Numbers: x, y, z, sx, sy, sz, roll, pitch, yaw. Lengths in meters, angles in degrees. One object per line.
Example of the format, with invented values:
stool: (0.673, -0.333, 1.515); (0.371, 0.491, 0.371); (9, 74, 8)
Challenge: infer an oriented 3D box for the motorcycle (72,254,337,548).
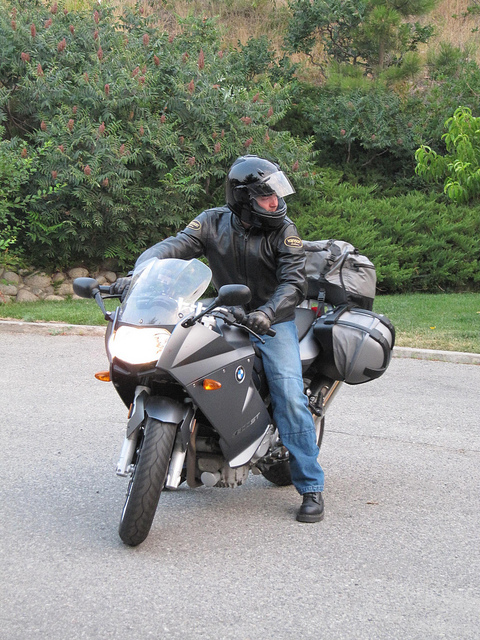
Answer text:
motorcycle: (-0.179, 0.401, 2.996); (0.945, 1.385, 0.663); (2, 3, -24)

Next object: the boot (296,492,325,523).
boot: (0.390, 1.043, 3.458); (0.093, 0.100, 0.235); (-1, -5, 13)

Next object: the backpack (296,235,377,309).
backpack: (0.676, -0.373, 4.450); (0.527, 0.464, 0.735); (0, 9, -26)

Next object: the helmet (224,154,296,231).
helmet: (0.114, -0.767, 3.675); (0.464, 0.327, 0.346); (21, 32, 17)
